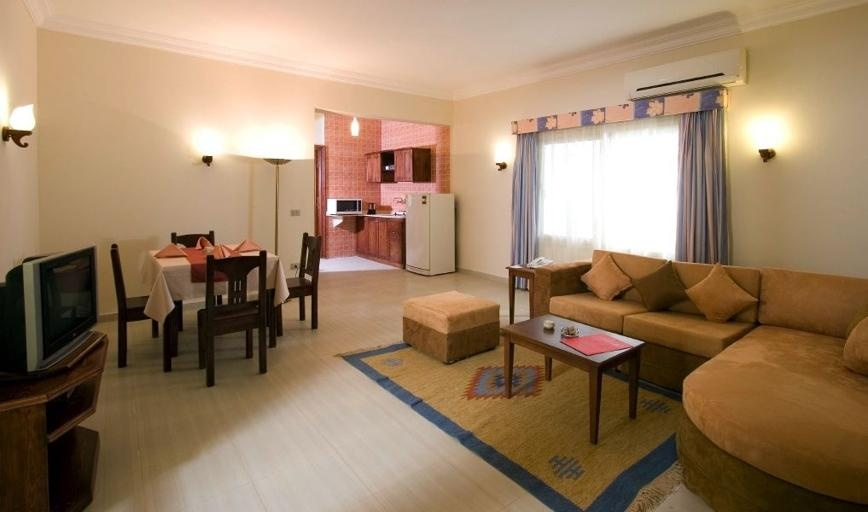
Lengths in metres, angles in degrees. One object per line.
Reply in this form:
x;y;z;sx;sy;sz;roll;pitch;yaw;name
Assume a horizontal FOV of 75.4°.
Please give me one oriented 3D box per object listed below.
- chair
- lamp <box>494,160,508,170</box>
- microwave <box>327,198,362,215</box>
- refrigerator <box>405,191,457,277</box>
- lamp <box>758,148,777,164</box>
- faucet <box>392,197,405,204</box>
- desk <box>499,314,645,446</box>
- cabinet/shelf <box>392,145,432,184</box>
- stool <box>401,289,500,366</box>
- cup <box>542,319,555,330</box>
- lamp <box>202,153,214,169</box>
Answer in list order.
-2.389;0.582;6.490;2.265;1.380;1.318;-6;10;-28;chair
1.108;-1.506;9.363;0.173;0.178;0.137;2;2;-36;lamp
-1.847;-1.019;11.655;0.725;0.326;0.327;-3;9;-14;microwave
-0.058;-0.390;10.132;0.887;1.438;0.537;-1;9;1;refrigerator
4.046;-1.211;6.822;0.179;0.159;0.152;4;-1;16;lamp
-0.720;-1.147;11.695;0.205;0.095;0.143;0;2;12;faucet
1.383;1.176;5.744;0.865;0.733;1.164;-7;15;-39;desk
-0.368;-1.714;11.141;0.600;0.889;1.094;-5;8;-34;cabinet/shelf
0.196;0.862;6.767;0.977;0.524;1.000;5;10;30;stool
1.167;0.709;5.760;0.094;0.062;0.090;1;-1;0;cup
-3.136;-1.334;7.819;0.155;0.178;0.170;-1;6;-17;lamp
